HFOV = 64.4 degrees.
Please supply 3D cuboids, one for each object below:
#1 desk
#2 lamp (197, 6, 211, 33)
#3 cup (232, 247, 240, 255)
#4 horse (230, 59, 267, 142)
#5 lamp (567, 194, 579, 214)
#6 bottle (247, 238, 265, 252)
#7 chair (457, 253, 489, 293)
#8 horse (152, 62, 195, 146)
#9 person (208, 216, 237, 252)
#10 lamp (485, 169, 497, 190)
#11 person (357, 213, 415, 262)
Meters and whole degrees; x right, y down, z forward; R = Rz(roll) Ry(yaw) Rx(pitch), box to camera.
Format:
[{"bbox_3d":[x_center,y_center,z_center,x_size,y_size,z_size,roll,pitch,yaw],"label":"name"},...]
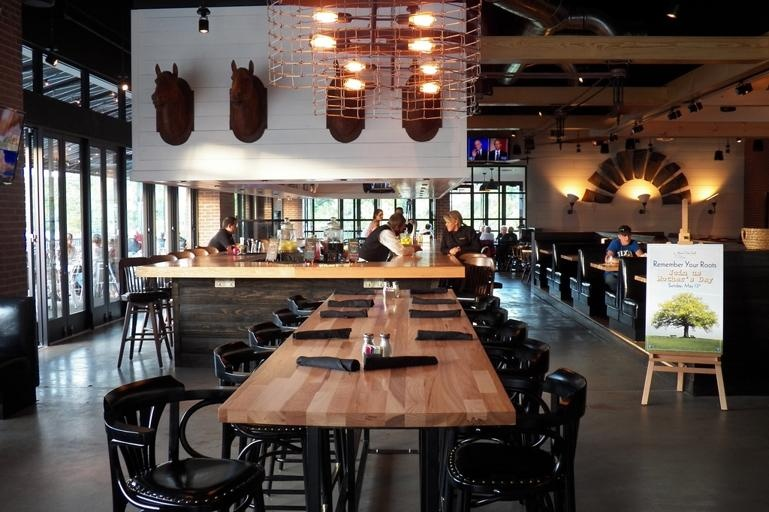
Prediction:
[{"bbox_3d":[-0.008,0.741,4.242,1.693,0.483,1.721,0,2,7],"label":"desk"},{"bbox_3d":[-2.192,-2.852,7.348,0.139,0.355,0.372,-1,2,-15],"label":"lamp"},{"bbox_3d":[-2.127,-0.078,8.677,0.115,0.095,0.184,3,-5,-5],"label":"cup"},{"bbox_3d":[-1.690,-1.859,7.134,0.488,0.955,0.758,-1,2,0],"label":"horse"},{"bbox_3d":[5.594,-1.547,18.073,0.310,0.576,0.137,0,2,8],"label":"lamp"},{"bbox_3d":[-1.859,-0.153,8.783,0.230,0.147,0.185,-3,-4,38],"label":"bottle"},{"bbox_3d":[1.258,0.233,8.262,0.543,0.657,0.540,0,-4,13],"label":"chair"},{"bbox_3d":[-2.583,-1.829,7.377,0.460,0.916,0.417,-1,2,-5],"label":"horse"},{"bbox_3d":[-2.681,-0.333,10.148,0.525,0.646,0.833,6,8,-3],"label":"person"},{"bbox_3d":[3.293,-2.402,18.648,0.346,0.683,1.172,0,2,9],"label":"lamp"},{"bbox_3d":[0.061,-0.269,8.035,0.515,0.632,0.721,-3,3,-44],"label":"person"}]
